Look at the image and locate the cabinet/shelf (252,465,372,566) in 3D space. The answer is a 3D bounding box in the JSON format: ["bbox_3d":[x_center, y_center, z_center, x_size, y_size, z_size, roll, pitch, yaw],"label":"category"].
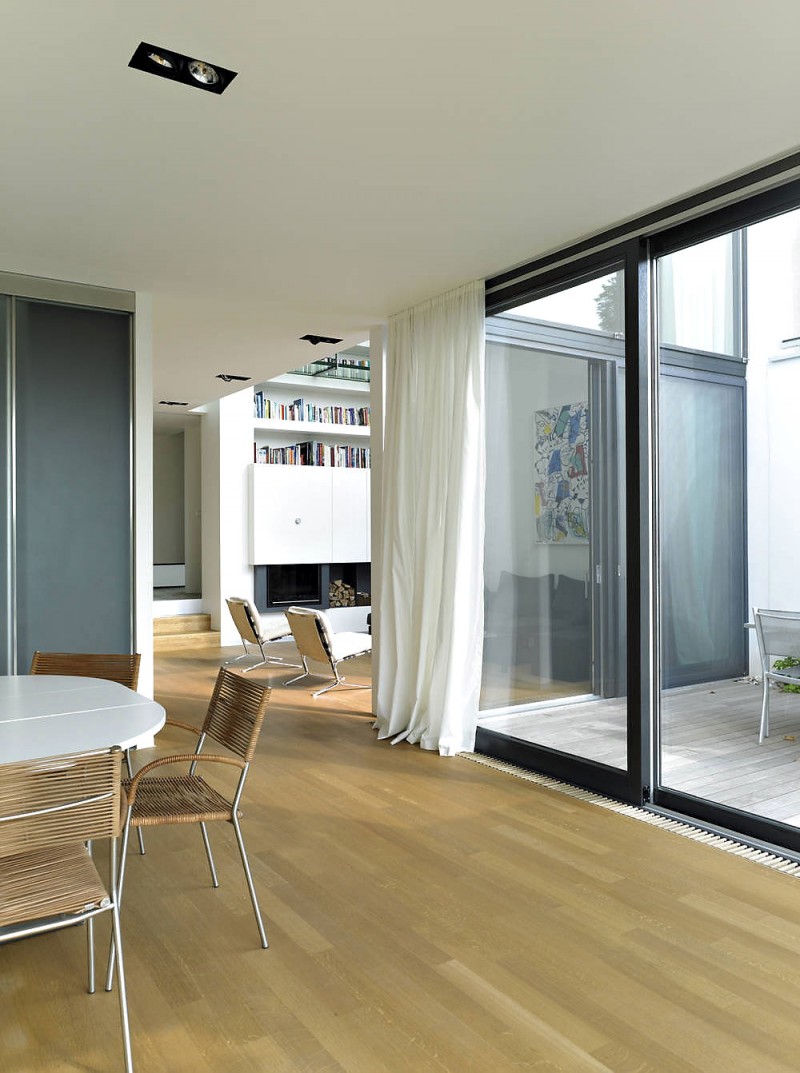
[{"bbox_3d":[-1.136,-0.267,9.415,1.297,1.045,0.422,0,2,-28],"label":"cabinet/shelf"}]

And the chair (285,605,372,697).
[{"bbox_3d":[-0.604,0.935,6.619,0.870,0.809,0.627,-1,3,-40],"label":"chair"}]

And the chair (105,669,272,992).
[{"bbox_3d":[-0.694,0.844,2.418,0.488,0.780,0.479,5,-3,-25],"label":"chair"}]

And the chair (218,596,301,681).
[{"bbox_3d":[-1.300,0.937,7.549,0.873,0.848,0.663,0,1,-29],"label":"chair"}]

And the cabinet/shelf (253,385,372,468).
[{"bbox_3d":[-1.163,-1.409,9.844,1.460,1.228,0.458,1,-3,-26],"label":"cabinet/shelf"}]
